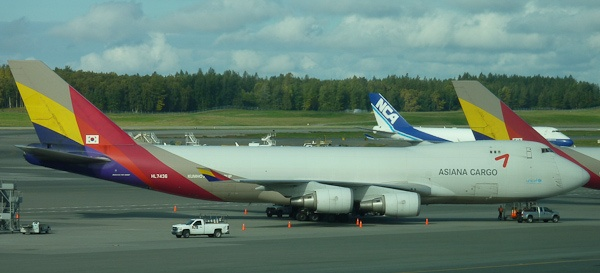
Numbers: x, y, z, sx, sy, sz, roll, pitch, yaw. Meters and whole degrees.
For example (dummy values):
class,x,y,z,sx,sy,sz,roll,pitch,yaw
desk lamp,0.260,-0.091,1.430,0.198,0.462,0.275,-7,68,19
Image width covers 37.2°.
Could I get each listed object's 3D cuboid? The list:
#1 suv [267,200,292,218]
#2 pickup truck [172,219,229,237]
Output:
class,x,y,z,sx,sy,sz,roll,pitch,yaw
suv,-3.642,13.140,155.466,4.233,1.450,2.546,-1,1,-36
pickup truck,-16.494,15.398,149.277,8.643,2.140,3.521,2,-4,-5
